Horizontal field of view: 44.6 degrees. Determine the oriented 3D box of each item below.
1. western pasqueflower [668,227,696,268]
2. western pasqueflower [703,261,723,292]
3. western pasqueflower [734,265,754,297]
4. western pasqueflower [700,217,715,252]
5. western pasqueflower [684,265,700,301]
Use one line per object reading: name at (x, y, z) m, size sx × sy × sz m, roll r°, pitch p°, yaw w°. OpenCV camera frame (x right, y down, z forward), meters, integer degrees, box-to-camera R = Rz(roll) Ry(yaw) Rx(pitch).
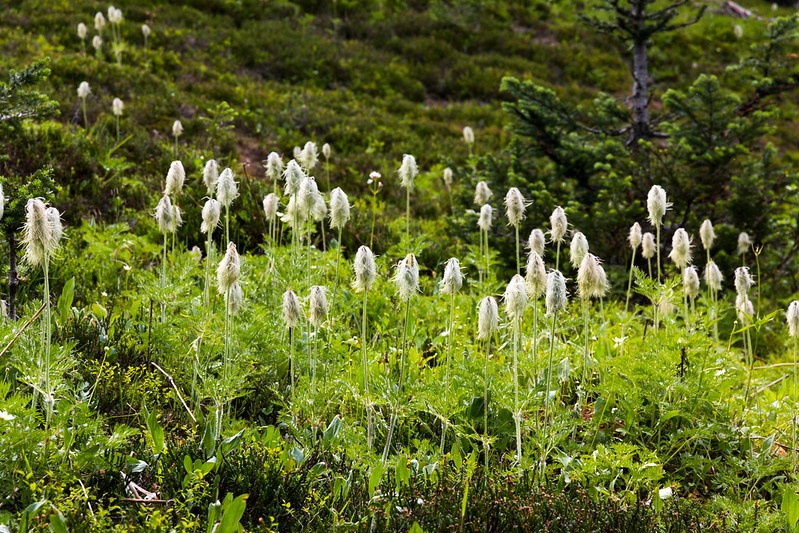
western pasqueflower at (3.206, -0.207, 11.158) m, size 0.223 × 0.469 × 0.649 m, roll 0°, pitch -5°, yaw 15°
western pasqueflower at (3.662, 0.119, 11.371) m, size 0.120 × 0.389 × 0.205 m, roll -5°, pitch -14°, yaw -28°
western pasqueflower at (3.982, 0.159, 11.358) m, size 0.208 × 0.362 × 0.224 m, roll 12°, pitch 42°, yaw 24°
western pasqueflower at (3.655, -0.389, 11.637) m, size 0.152 × 0.417 × 0.581 m, roll 0°, pitch -5°, yaw 16°
western pasqueflower at (3.249, 0.179, 11.054) m, size 0.202 × 0.454 × 0.235 m, roll 1°, pitch -2°, yaw -37°
